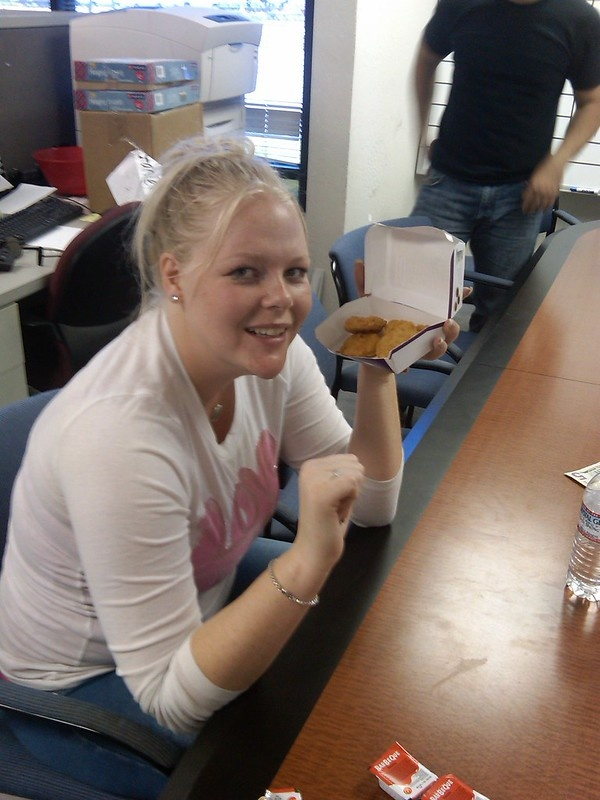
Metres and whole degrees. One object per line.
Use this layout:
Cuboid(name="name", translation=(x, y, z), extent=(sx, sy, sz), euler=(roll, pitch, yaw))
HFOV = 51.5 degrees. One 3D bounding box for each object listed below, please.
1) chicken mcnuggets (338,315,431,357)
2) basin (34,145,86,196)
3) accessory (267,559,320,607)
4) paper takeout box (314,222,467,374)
Cuboid(name="chicken mcnuggets", translation=(0.118, -0.092, 0.942), extent=(0.082, 0.033, 0.096), euler=(-40, 35, -26))
Cuboid(name="basin", translation=(-0.872, -0.887, 2.422), extent=(0.211, 0.131, 0.201), euler=(-1, 31, 1))
Cuboid(name="accessory", translation=(-0.010, 0.193, 0.674), extent=(0.053, 0.012, 0.042), euler=(24, 20, -38))
Cuboid(name="paper takeout box", translation=(0.134, -0.158, 0.921), extent=(0.146, 0.164, 0.197), euler=(29, 51, 36))
